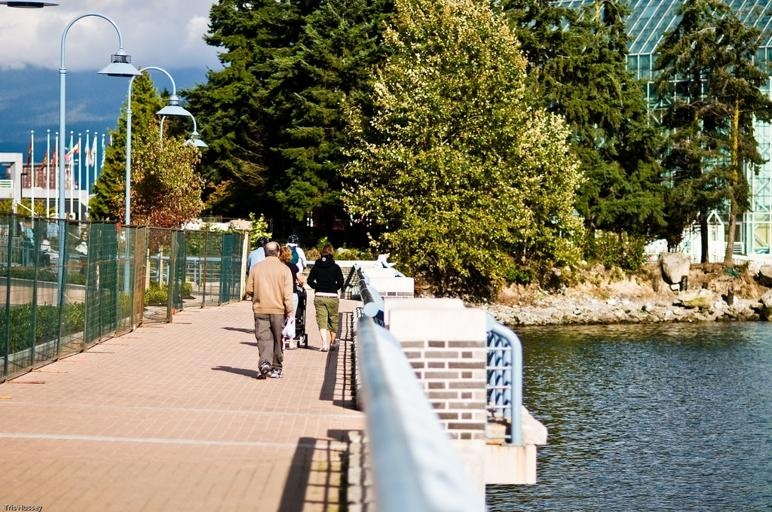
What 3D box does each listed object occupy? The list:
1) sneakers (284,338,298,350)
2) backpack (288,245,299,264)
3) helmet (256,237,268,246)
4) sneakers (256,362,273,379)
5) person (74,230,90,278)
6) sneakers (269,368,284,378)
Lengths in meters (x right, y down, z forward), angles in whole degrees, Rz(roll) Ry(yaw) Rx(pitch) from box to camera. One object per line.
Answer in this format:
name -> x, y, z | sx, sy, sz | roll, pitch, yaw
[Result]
sneakers -> -2.701, 2.477, 30.488 | 0.245, 0.124, 0.342 | 3, 8, 9
backpack -> -2.618, -0.061, 31.282 | 0.161, 0.432, 0.317 | -11, 14, 15
helmet -> -3.674, -0.439, 31.984 | 0.267, 0.334, 0.335 | -4, 16, -14
sneakers -> -2.953, 2.773, 26.235 | 0.207, 0.238, 0.523 | 5, -41, -6
person -> -7.842, -0.106, 27.910 | 0.172, 1.151, 0.648 | 7, 7, 1
sneakers -> -2.704, 2.838, 26.391 | 0.207, 0.095, 0.294 | 3, 12, 0
